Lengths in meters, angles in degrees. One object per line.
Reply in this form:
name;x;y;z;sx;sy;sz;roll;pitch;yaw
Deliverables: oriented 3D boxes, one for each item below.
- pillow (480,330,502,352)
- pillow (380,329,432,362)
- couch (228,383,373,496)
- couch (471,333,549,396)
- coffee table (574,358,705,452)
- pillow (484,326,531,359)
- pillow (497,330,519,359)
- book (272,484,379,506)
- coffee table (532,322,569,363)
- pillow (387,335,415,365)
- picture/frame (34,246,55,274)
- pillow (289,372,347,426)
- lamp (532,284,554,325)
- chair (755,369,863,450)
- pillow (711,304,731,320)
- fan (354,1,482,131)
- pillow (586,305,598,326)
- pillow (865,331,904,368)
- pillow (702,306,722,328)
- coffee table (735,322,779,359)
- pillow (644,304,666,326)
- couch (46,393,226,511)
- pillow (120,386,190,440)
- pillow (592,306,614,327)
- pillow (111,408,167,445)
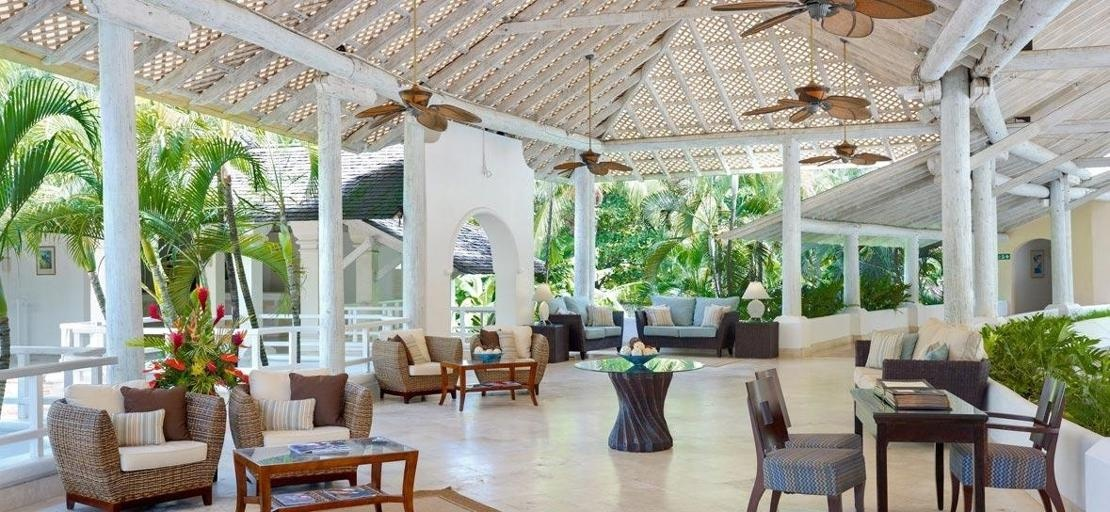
pillow;-1.339;1.736;16.494;0.411;0.302;0.148;2;-31;-36
pillow;-3.000;1.850;16.205;0.226;0.682;0.762;-24;-7;31
couch;-4.174;2.657;12.752;2.207;1.597;1.687;3;-12;-26
couch;-0.938;2.248;16.784;1.656;1.236;1.265;1;-14;-6
coffee table;1.454;2.460;13.887;1.886;1.044;1.752;0;-4;2
pillow;-0.884;1.763;16.731;0.774;0.710;0.252;1;-14;-13
pillow;-0.995;1.834;16.592;0.222;0.527;0.491;-30;-26;26
book;-3.244;3.383;11.234;1.488;0.242;0.445;0;-6;-10
coffee table;-0.150;1.957;19.800;0.876;1.090;1.249;-1;-1;22
pillow;-3.051;1.832;15.880;0.489;0.623;0.283;0;-6;-10
picture/frame;-12.937;0.095;20.235;0.470;0.727;0.253;0;-7;-10
pillow;-3.709;2.245;12.495;0.851;0.671;0.279;0;-13;3
lamp;-0.281;1.152;20.054;0.511;0.947;0.677;-2;-6;3
chair;3.667;2.207;11.697;1.600;1.166;1.437;-2;-6;22
pillow;4.207;1.438;20.472;0.379;0.381;0.123;10;-9;26
fan;-2.679;-3.609;15.669;1.840;2.634;3.064;0;-6;-15
pillow;0.949;1.493;20.604;0.440;0.377;0.125;-4;-9;1
pillow;6.007;1.701;14.511;0.350;0.580;0.675;10;-4;-24
pillow;4.053;1.527;20.488;0.521;0.466;0.154;3;-14;46
coffee table;5.183;2.092;20.407;1.023;0.851;0.960;0;1;13
pillow;2.716;1.528;20.860;0.522;0.442;0.141;-5;-18;-16
couch;-6.364;2.749;11.942;2.029;1.325;2.010;-3;-6;41
pillow;-6.007;2.339;11.895;0.844;0.676;0.277;-3;-11;0
pillow;1.234;1.536;20.615;0.592;0.394;0.215;1;0;-28
pillow;-6.149;2.501;11.769;0.572;0.328;0.159;-3;-3;-12
